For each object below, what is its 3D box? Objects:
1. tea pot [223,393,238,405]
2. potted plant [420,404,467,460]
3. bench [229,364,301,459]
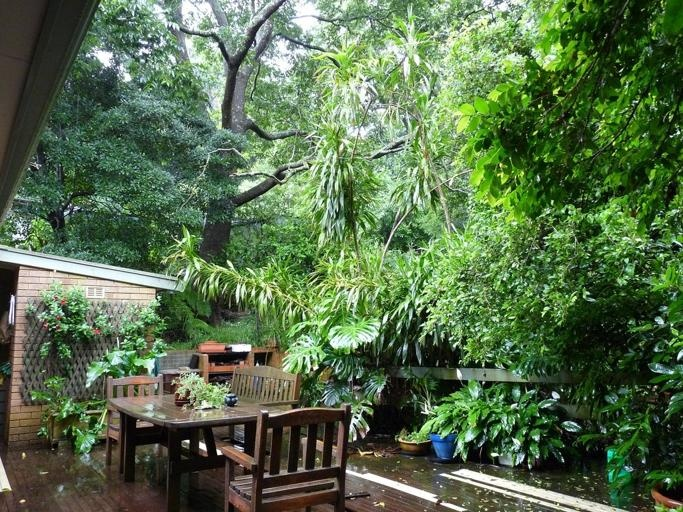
[{"bbox_3d":[-1.005,1.287,4.644,0.109,0.082,0.115,-2,-1,0],"label":"tea pot"},{"bbox_3d":[1.145,1.944,5.813,0.540,0.569,0.517,-2,-8,34],"label":"potted plant"},{"bbox_3d":[-0.683,1.333,4.480,0.431,0.891,1.107,10,-15,-36],"label":"bench"}]
